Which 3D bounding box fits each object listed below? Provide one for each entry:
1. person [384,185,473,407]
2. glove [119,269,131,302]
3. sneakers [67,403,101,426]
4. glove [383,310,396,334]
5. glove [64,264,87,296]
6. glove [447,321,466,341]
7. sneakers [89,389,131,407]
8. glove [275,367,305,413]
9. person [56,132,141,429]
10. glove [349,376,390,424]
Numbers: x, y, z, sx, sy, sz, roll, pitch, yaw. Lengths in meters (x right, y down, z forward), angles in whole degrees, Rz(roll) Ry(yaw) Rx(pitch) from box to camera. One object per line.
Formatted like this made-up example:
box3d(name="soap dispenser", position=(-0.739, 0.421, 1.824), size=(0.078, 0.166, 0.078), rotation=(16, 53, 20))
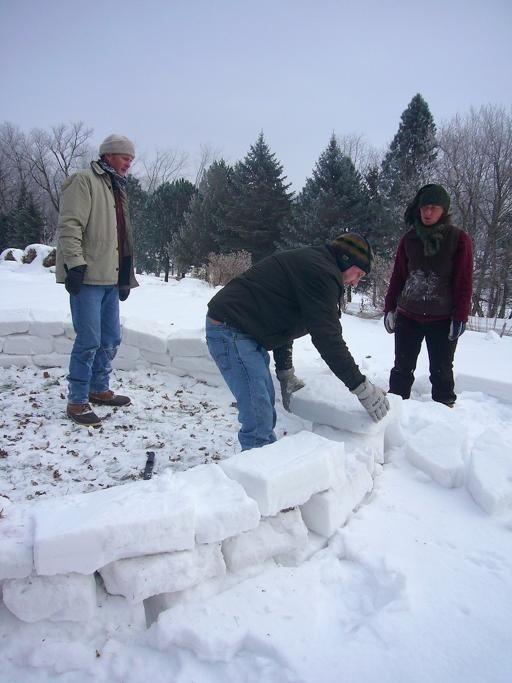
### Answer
box3d(name="person", position=(1.178, -0.301, 3.691), size=(0.523, 1.466, 0.305), rotation=(8, 14, 32))
box3d(name="glove", position=(-0.896, -0.375, 3.733), size=(0.063, 0.162, 0.112), rotation=(1, 11, -32))
box3d(name="sneakers", position=(-1.040, 0.434, 3.337), size=(0.244, 0.107, 0.099), rotation=(10, 11, 38))
box3d(name="glove", position=(1.014, -0.128, 4.078), size=(0.048, 0.136, 0.101), rotation=(6, 39, -2))
box3d(name="glove", position=(-1.028, -0.350, 3.156), size=(0.123, 0.184, 0.152), rotation=(-4, 13, -18))
box3d(name="glove", position=(1.293, -0.060, 3.551), size=(0.090, 0.154, 0.172), rotation=(4, 13, 17))
box3d(name="sneakers", position=(-0.978, 0.393, 3.735), size=(0.276, 0.121, 0.102), rotation=(-2, 7, -12))
box3d(name="glove", position=(0.201, 0.320, 3.458), size=(0.103, 0.242, 0.240), rotation=(-1, 49, -14))
box3d(name="person", position=(-0.979, -0.381, 3.411), size=(0.363, 1.731, 0.690), rotation=(4, 13, 14))
box3d(name="glove", position=(0.598, 0.293, 2.746), size=(0.235, 0.186, 0.065), rotation=(46, 41, 0))
